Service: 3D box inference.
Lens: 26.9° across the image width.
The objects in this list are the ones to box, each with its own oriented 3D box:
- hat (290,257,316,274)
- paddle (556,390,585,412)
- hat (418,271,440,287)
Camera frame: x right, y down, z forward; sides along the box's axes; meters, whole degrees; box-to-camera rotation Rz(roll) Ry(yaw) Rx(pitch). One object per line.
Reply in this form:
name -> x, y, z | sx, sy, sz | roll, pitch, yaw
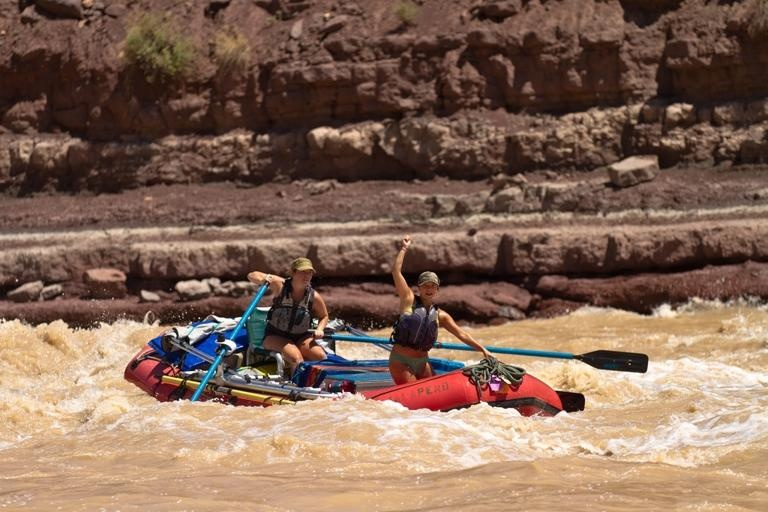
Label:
hat -> -1.658, 0.155, 30.975 | 0.311, 0.216, 0.441 | 6, -11, -36
paddle -> 3.563, 2.765, 30.601 | 0.527, 0.381, 0.360 | 6, 3, 33
hat -> 0.829, 0.453, 30.367 | 0.257, 0.182, 0.363 | 2, -33, 1
